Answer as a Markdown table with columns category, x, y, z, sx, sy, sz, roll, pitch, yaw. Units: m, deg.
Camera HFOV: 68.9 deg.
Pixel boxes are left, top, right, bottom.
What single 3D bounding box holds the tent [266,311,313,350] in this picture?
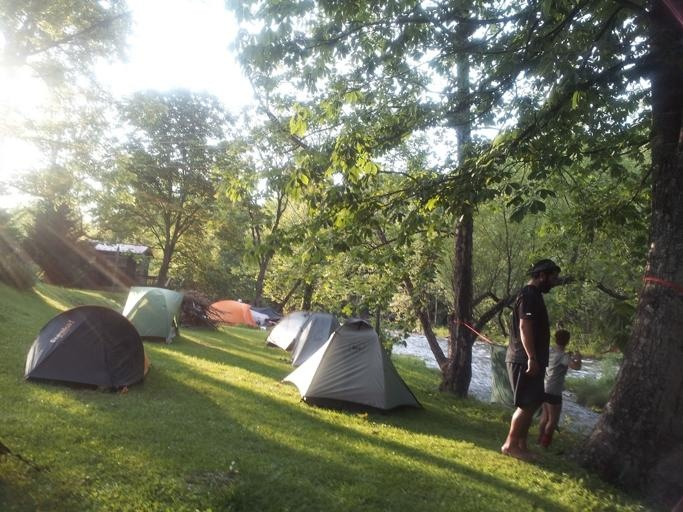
| category | x | y | z | sx | sy | sz | roll | pitch | yaw |
| --- | --- | --- | --- | --- | --- | --- | --- | --- | --- |
| tent | -2.225 | 2.981 | 20.440 | 1.519 | 0.817 | 1.517 | -4 | 11 | -41 |

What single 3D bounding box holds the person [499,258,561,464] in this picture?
| category | x | y | z | sx | sy | sz | roll | pitch | yaw |
| --- | --- | --- | --- | --- | --- | --- | --- | --- | --- |
| person | 3.264 | 1.815 | 8.752 | 0.693 | 3.388 | 0.715 | 7 | 3 | 40 |

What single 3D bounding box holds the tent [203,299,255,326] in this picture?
| category | x | y | z | sx | sy | sz | roll | pitch | yaw |
| --- | --- | --- | --- | --- | --- | --- | --- | --- | --- |
| tent | -6.798 | 3.456 | 31.429 | 2.355 | 1.002 | 1.913 | 7 | 1 | 9 |

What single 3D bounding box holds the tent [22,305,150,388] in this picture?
| category | x | y | z | sx | sy | sz | roll | pitch | yaw |
| --- | --- | --- | --- | --- | --- | --- | --- | --- | --- |
| tent | -5.081 | 1.900 | 10.111 | 1.649 | 1.070 | 1.870 | 2 | 3 | -43 |

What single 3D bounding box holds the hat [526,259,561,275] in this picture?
| category | x | y | z | sx | sy | sz | roll | pitch | yaw |
| --- | --- | --- | --- | --- | --- | --- | --- | --- | --- |
| hat | 3.610 | 0.177 | 8.801 | 0.328 | 0.126 | 0.366 | -3 | -2 | -28 |
